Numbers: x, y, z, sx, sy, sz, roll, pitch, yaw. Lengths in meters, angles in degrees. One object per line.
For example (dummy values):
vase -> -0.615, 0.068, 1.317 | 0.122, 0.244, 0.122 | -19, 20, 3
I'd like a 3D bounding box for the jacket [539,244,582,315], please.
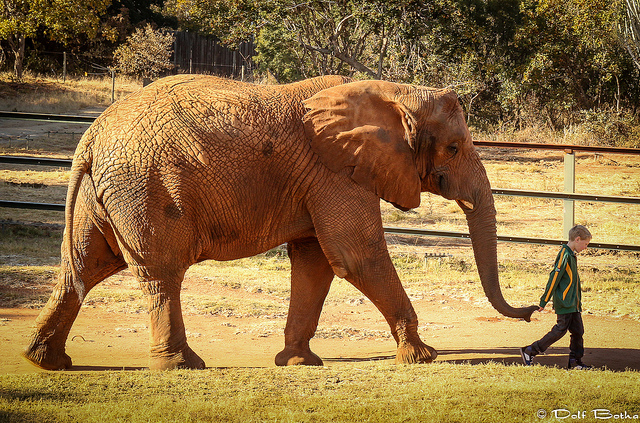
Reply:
jacket -> 4.088, 1.169, 16.244 | 0.554, 1.155, 1.275 | 1, -9, 25
